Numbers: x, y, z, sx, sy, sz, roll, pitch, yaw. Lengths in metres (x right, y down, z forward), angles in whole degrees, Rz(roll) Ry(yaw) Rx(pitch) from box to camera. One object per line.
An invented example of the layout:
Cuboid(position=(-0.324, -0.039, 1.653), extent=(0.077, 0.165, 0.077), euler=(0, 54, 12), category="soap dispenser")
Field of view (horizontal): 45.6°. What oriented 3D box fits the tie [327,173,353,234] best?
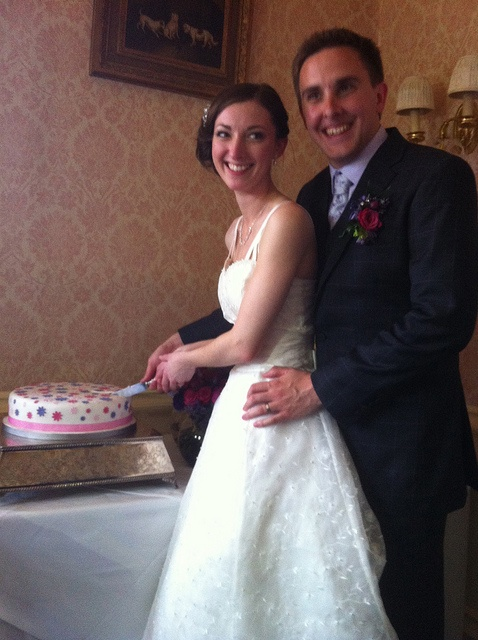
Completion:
Cuboid(position=(0.261, -0.307, 1.477), extent=(0.029, 0.130, 0.071), euler=(3, 5, -40), category="tie")
